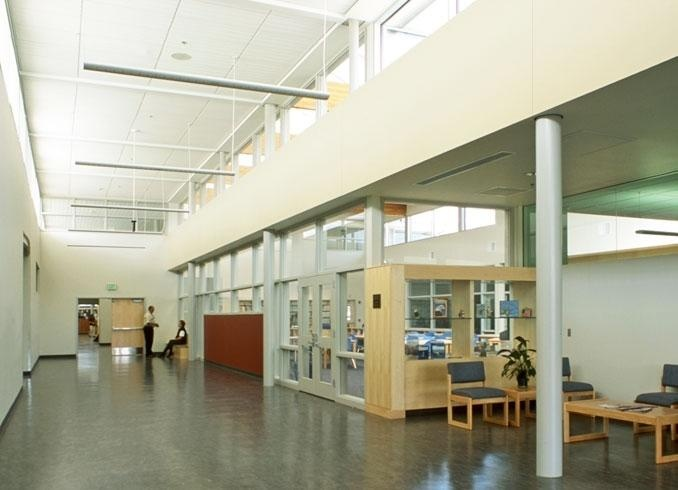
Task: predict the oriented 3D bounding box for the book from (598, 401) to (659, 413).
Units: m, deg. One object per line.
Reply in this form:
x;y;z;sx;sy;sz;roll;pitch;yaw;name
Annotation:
3.894;2.188;7.360;0.634;0.025;0.709;-5;-8;35;book

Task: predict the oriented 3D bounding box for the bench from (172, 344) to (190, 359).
-5.938;4.021;20.539;0.472;0.509;1.820;2;-7;-20;bench

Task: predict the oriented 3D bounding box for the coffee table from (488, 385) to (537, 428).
2.931;2.530;8.798;0.823;0.673;0.608;1;-6;-24;coffee table

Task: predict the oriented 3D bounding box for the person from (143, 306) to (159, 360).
-7.627;3.463;22.239;0.503;2.012;1.217;2;-6;-19;person

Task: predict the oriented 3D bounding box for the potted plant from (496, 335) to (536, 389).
3.022;1.959;9.124;0.741;0.685;0.634;-3;-8;-26;potted plant
